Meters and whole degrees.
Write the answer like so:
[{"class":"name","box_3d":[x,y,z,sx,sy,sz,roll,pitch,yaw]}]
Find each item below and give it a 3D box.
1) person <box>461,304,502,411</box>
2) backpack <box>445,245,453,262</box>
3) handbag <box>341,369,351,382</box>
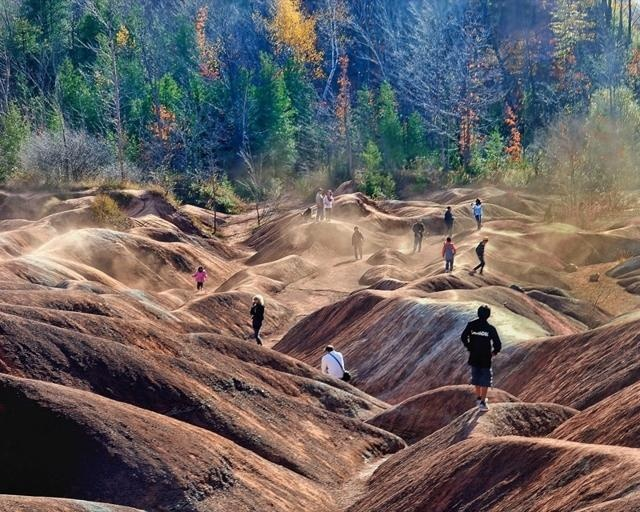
[{"class":"person","box_3d":[2.585,1.623,12.530,0.576,1.853,1.037,0,11,13]},{"class":"backpack","box_3d":[4.111,-0.099,24.858,0.260,0.534,0.215,0,11,12]},{"class":"handbag","box_3d":[0.573,2.743,17.691,0.200,0.316,0.084,2,-12,-21]}]
